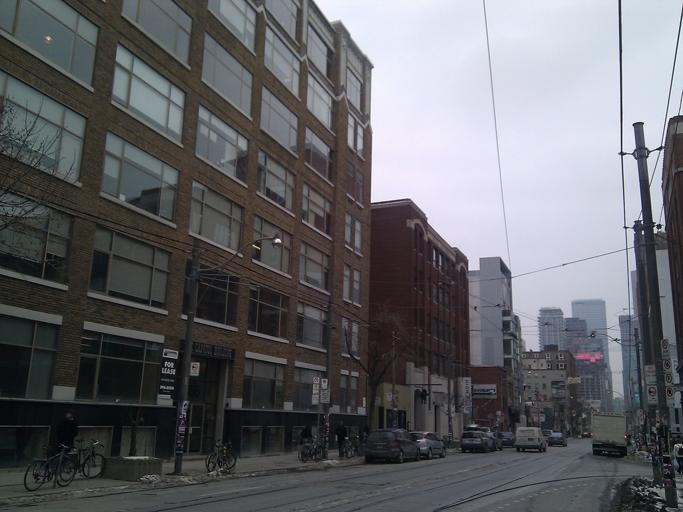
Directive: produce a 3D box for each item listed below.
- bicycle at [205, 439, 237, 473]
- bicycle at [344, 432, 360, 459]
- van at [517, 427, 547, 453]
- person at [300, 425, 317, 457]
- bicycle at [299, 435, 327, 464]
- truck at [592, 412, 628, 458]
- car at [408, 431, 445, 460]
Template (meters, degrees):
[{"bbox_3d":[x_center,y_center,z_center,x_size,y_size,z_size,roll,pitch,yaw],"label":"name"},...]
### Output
[{"bbox_3d":[-5.245,8.597,25.227,1.048,1.094,1.753,-15,-32,20],"label":"bicycle"},{"bbox_3d":[0.371,12.039,37.445,0.928,1.276,1.949,-5,-15,16],"label":"bicycle"},{"bbox_3d":[16.392,15.974,51.536,1.727,1.569,3.378,-2,-12,17],"label":"van"},{"bbox_3d":[-2.023,10.338,32.496,0.998,1.294,1.988,-3,-22,12],"label":"person"},{"bbox_3d":[-1.890,10.561,32.323,0.896,1.092,1.958,-7,-17,22],"label":"bicycle"},{"bbox_3d":[21.079,14.134,47.311,2.190,2.427,4.045,-2,-11,15],"label":"truck"},{"bbox_3d":[5.658,12.582,39.470,1.455,1.137,3.212,-9,-17,28],"label":"car"}]
